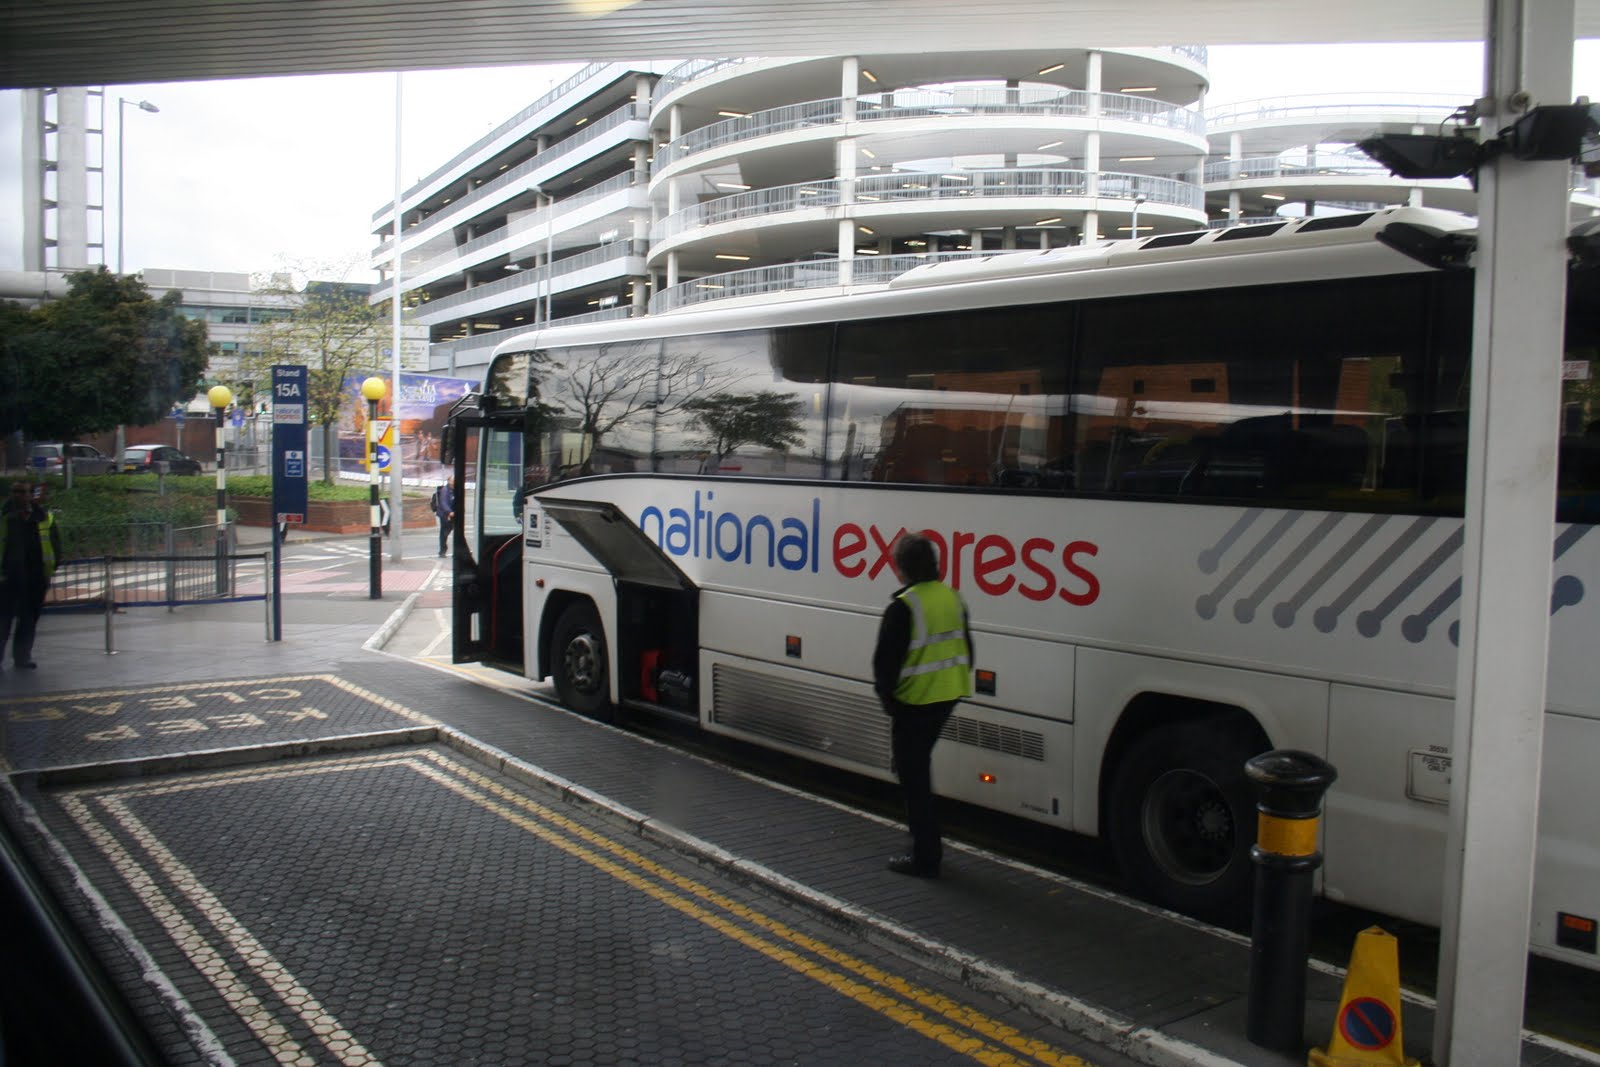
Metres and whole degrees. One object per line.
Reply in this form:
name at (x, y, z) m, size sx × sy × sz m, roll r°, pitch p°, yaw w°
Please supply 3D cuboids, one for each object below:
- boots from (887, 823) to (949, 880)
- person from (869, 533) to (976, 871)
boots at (0.889, 2.447, 9.251) m, size 0.576 × 0.399 × 0.193 m, roll 5°, pitch 0°, yaw -1°
person at (0.913, 1.289, 9.151) m, size 0.739 × 2.553 × 0.325 m, roll 1°, pitch 9°, yaw 0°
